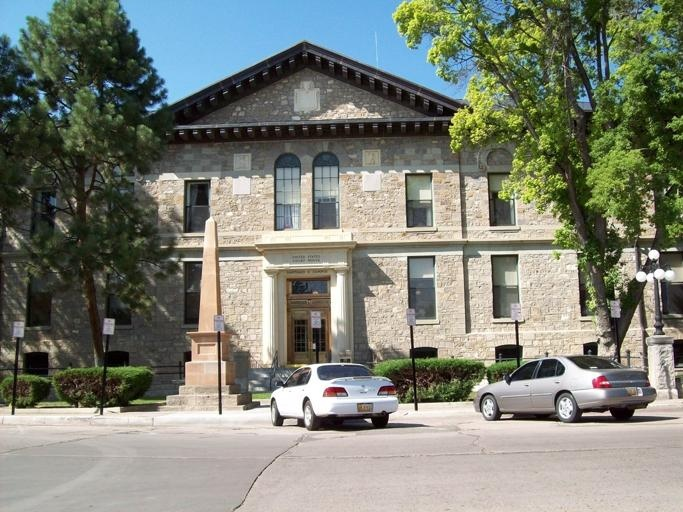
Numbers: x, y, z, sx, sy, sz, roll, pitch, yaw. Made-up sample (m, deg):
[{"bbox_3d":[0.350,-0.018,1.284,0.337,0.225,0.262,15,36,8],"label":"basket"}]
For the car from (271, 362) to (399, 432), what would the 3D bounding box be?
[{"bbox_3d":[-0.334,3.985,24.693,3.566,1.802,1.651,0,3,32],"label":"car"}]
